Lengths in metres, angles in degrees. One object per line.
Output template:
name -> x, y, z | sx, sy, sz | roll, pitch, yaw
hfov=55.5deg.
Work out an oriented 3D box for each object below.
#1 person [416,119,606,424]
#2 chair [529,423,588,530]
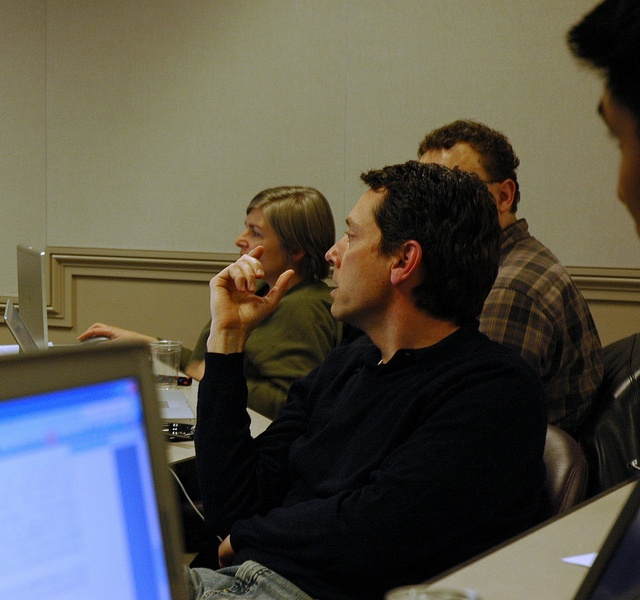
person -> 0.555, -0.063, 1.833 | 0.422, 0.865, 0.516 | -10, 6, 4
chair -> 0.394, 0.330, 1.051 | 0.105, 0.168, 0.131 | 4, 24, 25
